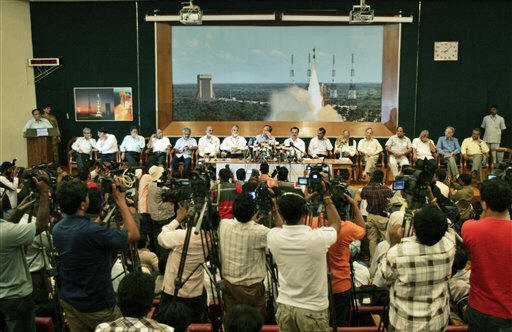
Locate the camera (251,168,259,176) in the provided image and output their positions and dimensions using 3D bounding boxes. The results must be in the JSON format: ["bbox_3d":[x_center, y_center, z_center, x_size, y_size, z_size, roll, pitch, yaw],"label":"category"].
[{"bbox_3d":[-0.028,0.125,10.205,0.124,0.090,0.132,1,-7,5],"label":"camera"}]

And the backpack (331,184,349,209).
[{"bbox_3d":[1.238,0.456,8.098,0.340,0.335,0.156,-6,8,-40],"label":"backpack"}]

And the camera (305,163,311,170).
[{"bbox_3d":[0.879,0.015,9.224,0.122,0.064,0.176,1,4,11],"label":"camera"}]

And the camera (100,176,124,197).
[{"bbox_3d":[-2.035,0.298,7.791,0.262,0.203,0.259,3,-6,-28],"label":"camera"}]

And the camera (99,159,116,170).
[{"bbox_3d":[-2.416,-0.012,8.922,0.330,0.119,0.126,-7,40,49],"label":"camera"}]

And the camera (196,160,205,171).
[{"bbox_3d":[-0.937,-0.004,9.355,0.135,0.236,0.238,-1,-7,2],"label":"camera"}]

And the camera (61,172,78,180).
[{"bbox_3d":[-3.200,0.187,9.472,0.095,0.134,0.434,15,-6,-14],"label":"camera"}]

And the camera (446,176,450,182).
[{"bbox_3d":[4.477,0.324,12.863,0.054,0.140,0.101,19,32,11],"label":"camera"}]

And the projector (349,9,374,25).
[{"bbox_3d":[2.458,-3.538,12.982,0.520,0.289,0.363,0,6,9],"label":"projector"}]

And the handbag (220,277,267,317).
[{"bbox_3d":[-0.148,1.884,8.254,0.693,0.938,0.507,0,-4,1],"label":"handbag"}]

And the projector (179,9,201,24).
[{"bbox_3d":[-1.550,-3.539,12.999,0.492,0.313,0.298,-1,6,-1],"label":"projector"}]

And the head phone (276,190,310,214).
[{"bbox_3d":[0.489,0.510,7.527,0.280,0.328,0.336,1,8,2],"label":"head phone"}]
